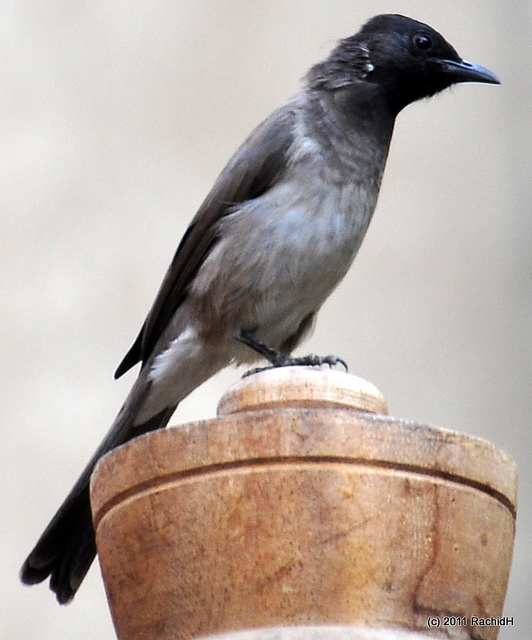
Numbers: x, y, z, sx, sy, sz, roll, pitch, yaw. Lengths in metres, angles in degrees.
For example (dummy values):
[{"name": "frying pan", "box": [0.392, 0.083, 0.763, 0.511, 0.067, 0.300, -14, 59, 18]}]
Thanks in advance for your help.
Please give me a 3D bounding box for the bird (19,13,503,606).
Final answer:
[{"name": "bird", "box": [-0.015, -0.033, 3.032, 1.003, 1.344, 0.371, -10, -31, 29]}]
